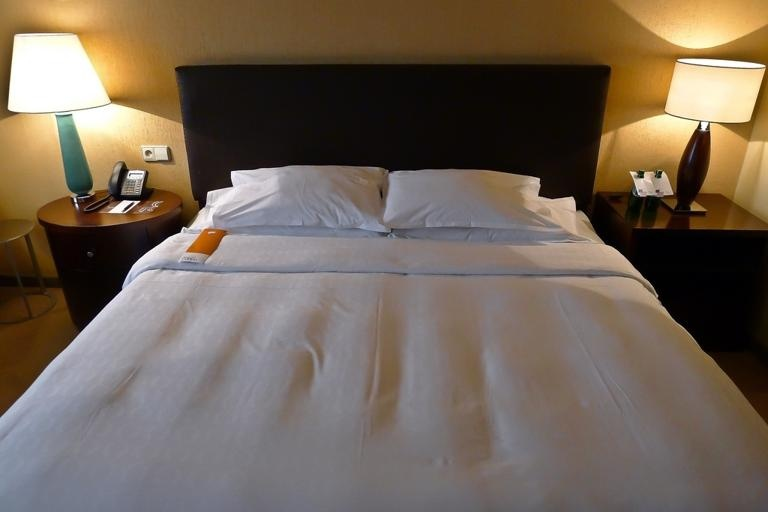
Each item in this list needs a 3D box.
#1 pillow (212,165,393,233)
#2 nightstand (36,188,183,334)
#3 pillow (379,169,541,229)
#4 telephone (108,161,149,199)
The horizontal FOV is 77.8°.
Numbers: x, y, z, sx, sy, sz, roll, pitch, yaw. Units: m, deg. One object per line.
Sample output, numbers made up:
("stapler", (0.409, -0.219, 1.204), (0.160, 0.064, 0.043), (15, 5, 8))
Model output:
("pillow", (-0.459, -0.330, 2.764), (0.796, 0.206, 0.499), (0, 45, 3))
("nightstand", (-1.726, 0.032, 3.299), (0.774, 0.840, 0.765), (-3, 24, -8))
("pillow", (0.418, -0.323, 2.722), (0.676, 0.147, 0.430), (0, 44, 5))
("telephone", (-1.669, -0.500, 3.142), (0.220, 0.225, 0.183), (5, 22, 3))
